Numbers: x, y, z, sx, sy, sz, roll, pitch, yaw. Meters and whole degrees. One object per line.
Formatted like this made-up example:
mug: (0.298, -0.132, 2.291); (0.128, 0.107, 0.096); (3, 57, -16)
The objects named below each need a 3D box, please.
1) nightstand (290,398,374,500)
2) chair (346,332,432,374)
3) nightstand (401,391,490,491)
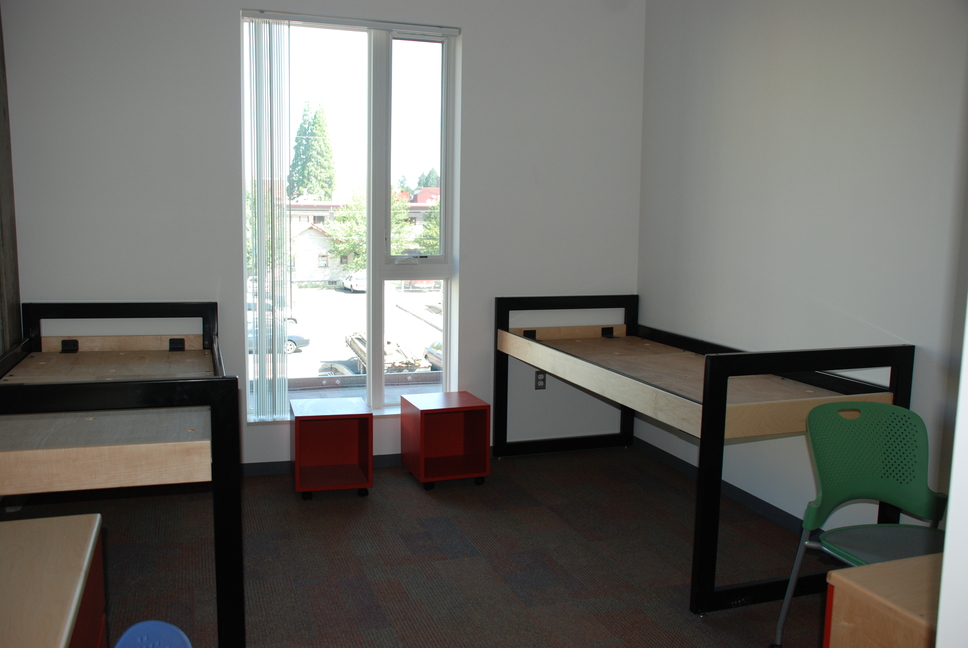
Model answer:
nightstand: (-1.056, 0.837, 4.727); (0.564, 0.616, 0.613); (0, 0, -13)
chair: (-0.743, 0.259, 5.353); (0.637, 0.190, 0.346); (1, 15, -17)
nightstand: (-0.284, 0.802, 4.882); (0.607, 0.573, 0.570); (-1, 14, -9)
